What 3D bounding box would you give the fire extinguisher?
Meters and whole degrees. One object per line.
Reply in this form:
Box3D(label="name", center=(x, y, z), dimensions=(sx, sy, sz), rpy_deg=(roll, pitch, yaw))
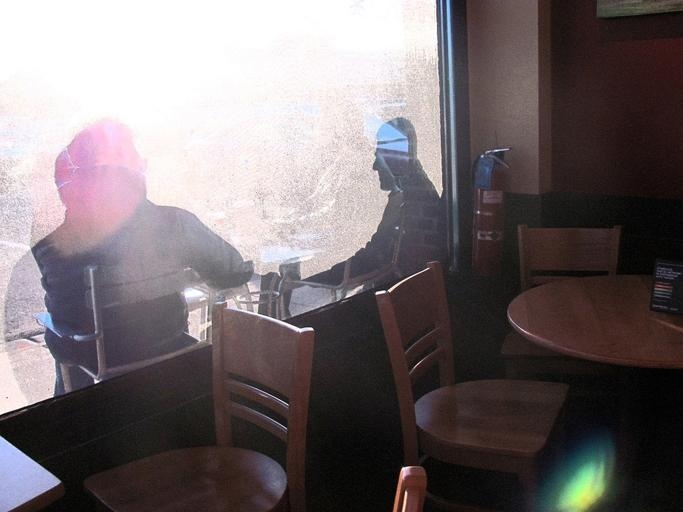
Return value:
Box3D(label="fire extinguisher", center=(0.846, -0.261, 3.315), dimensions=(0.191, 0.764, 0.268), rpy_deg=(6, 16, 15))
